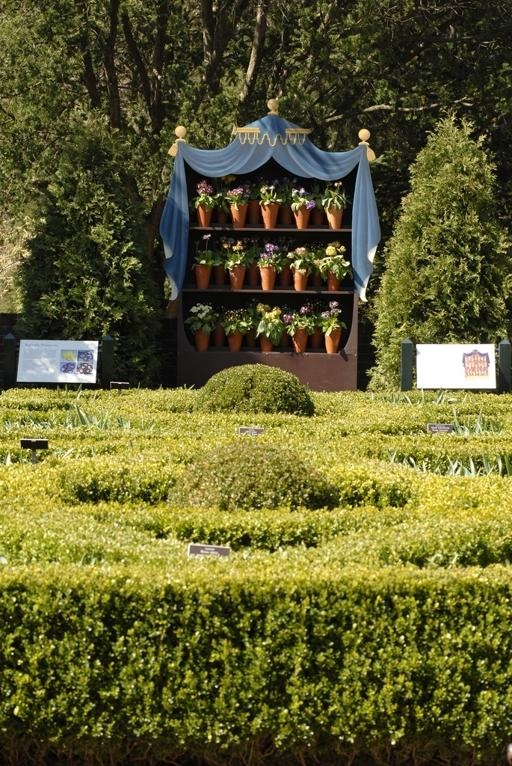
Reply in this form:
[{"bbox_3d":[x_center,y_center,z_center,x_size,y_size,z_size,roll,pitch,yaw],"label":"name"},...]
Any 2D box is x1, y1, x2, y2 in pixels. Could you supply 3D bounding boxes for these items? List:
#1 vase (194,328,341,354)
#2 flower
[{"bbox_3d":[0.137,-0.515,13.627,1.821,0.276,0.365,0,1,5],"label":"vase"},{"bbox_3d":[0.175,-1.525,13.738,1.871,2.312,0.644,1,8,2],"label":"flower"}]
